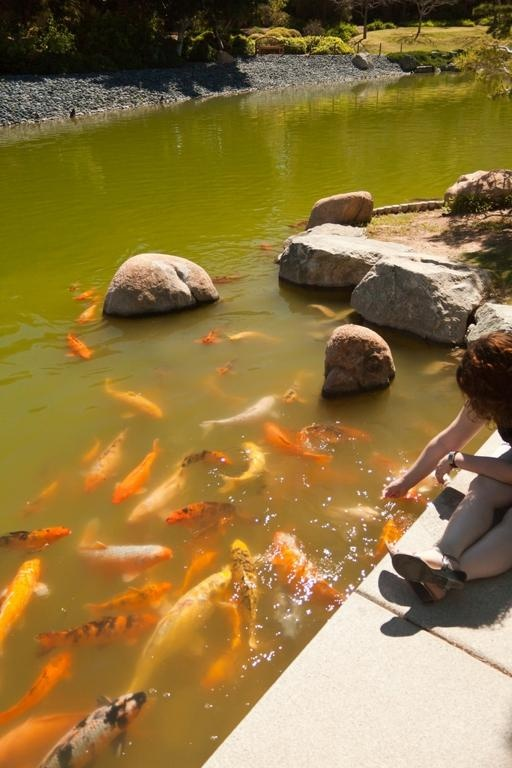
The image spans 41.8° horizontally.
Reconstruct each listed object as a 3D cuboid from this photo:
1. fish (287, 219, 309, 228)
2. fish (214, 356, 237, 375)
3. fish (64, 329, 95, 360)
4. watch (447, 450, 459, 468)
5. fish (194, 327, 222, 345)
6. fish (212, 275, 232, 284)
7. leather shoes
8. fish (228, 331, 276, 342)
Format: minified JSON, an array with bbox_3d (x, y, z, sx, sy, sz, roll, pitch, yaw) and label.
[{"bbox_3d":[0.672,-2.618,10.860,0.305,0.038,0.569,-2,23,4],"label":"fish"},{"bbox_3d":[-0.290,-0.175,6.406,0.075,0.072,0.184,-42,2,23],"label":"fish"},{"bbox_3d":[-1.817,-0.392,6.896,0.177,0.147,0.427,-23,35,-11],"label":"fish"},{"bbox_3d":[1.030,0.391,3.516,0.055,0.078,0.085,6,-12,27],"label":"watch"},{"bbox_3d":[-0.474,-0.487,6.975,0.189,0.063,0.182,2,24,9],"label":"fish"},{"bbox_3d":[-0.436,-1.336,8.519,0.118,0.041,0.185,2,25,6],"label":"fish"},{"bbox_3d":[0.775,0.858,3.072,0.358,0.189,0.127,37,5,1],"label":"leather shoes"},{"bbox_3d":[-0.046,-0.505,6.959,0.494,0.039,0.221,-1,23,6],"label":"fish"}]
